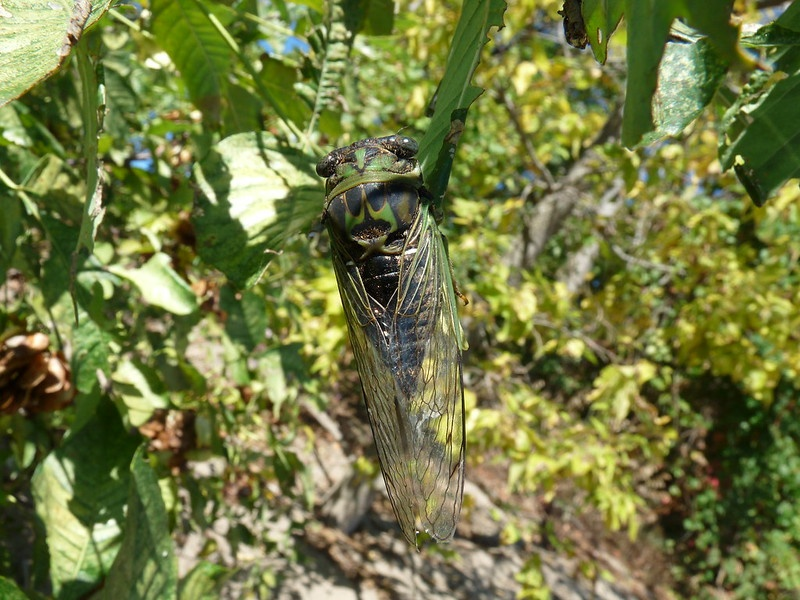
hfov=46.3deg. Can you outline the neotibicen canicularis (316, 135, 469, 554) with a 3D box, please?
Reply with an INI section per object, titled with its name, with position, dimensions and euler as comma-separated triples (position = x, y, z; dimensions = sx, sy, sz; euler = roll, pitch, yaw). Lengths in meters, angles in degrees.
[neotibicen canicularis]
position = 0.057, 0.083, 1.690
dimensions = 0.244, 0.716, 0.251
euler = -5, 18, 11
